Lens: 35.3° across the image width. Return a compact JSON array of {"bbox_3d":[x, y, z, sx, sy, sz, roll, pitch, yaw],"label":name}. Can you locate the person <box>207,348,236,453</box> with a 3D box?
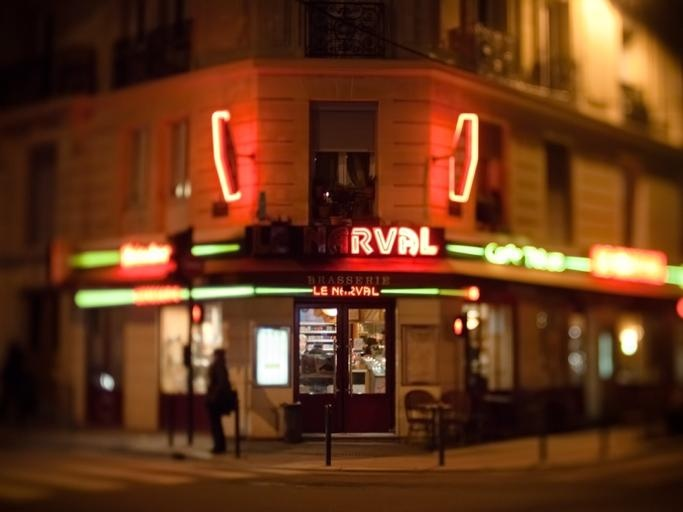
[{"bbox_3d":[-2.950,3.425,26.342,0.770,2.535,0.450,0,-10,1],"label":"person"}]
